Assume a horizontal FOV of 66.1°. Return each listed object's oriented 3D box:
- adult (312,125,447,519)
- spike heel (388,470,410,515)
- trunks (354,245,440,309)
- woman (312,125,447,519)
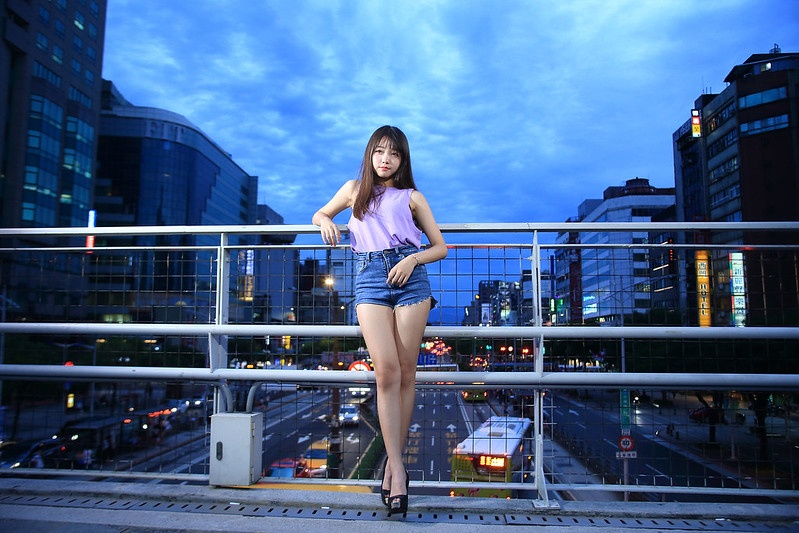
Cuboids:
[{"bbox_3d":[-0.093,0.425,5.545,1.085,3.468,0.384,-3,-8,1],"label":"adult"},{"bbox_3d":[-0.025,1.984,5.323,0.203,0.350,0.188,-2,-7,-3],"label":"spike heel"},{"bbox_3d":[-0.050,0.100,5.649,0.794,0.559,0.435,-10,-2,17],"label":"trunks"},{"bbox_3d":[-0.095,0.425,5.540,1.085,3.468,0.368,-3,-8,3],"label":"woman"}]
